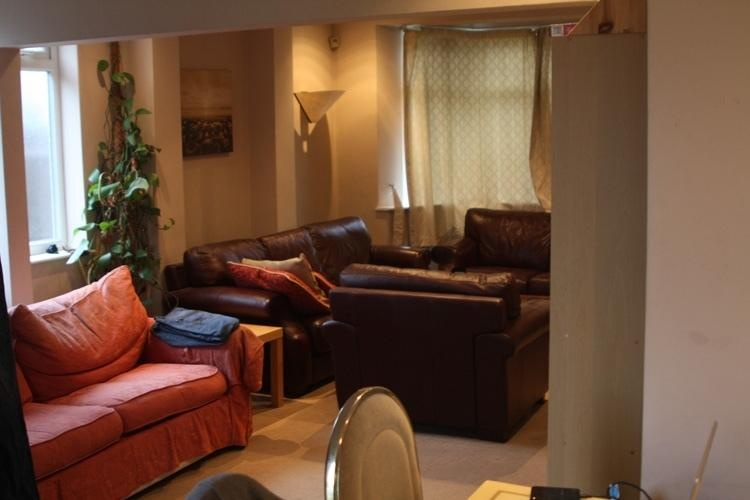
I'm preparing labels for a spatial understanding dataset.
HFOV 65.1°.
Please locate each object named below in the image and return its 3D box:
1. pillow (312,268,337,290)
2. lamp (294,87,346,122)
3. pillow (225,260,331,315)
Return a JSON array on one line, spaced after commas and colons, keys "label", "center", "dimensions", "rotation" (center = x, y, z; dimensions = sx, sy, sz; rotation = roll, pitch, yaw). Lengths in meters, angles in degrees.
[{"label": "pillow", "center": [-0.444, 0.245, 5.091], "dimensions": [0.191, 0.210, 0.162], "rotation": [4, 6, 15]}, {"label": "lamp", "center": [-0.610, -1.516, 6.133], "dimensions": [0.385, 0.224, 0.387], "rotation": [5, -5, 9]}, {"label": "pillow", "center": [-0.714, 0.277, 4.490], "dimensions": [0.516, 0.155, 0.508], "rotation": [23, -6, -24]}]
